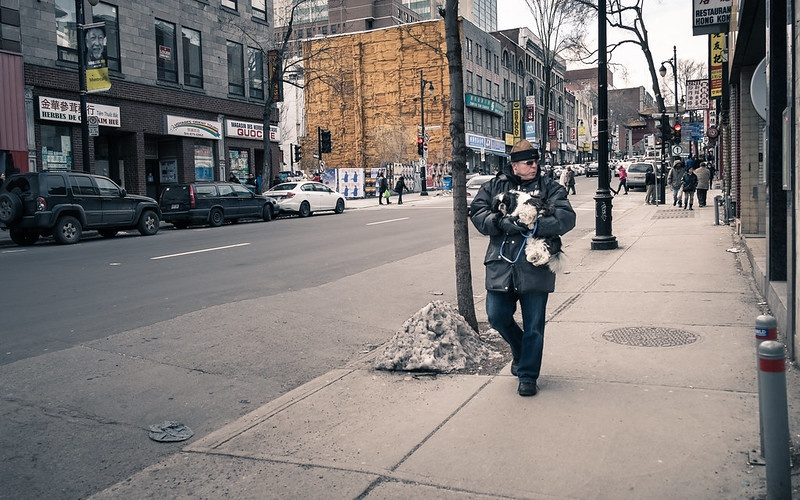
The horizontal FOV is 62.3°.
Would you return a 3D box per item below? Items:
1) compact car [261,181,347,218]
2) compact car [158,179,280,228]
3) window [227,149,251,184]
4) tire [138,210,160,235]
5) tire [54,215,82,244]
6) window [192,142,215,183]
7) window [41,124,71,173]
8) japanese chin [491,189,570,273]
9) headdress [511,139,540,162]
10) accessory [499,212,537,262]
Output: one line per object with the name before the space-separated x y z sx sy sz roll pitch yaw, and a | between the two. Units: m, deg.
compact car | -4.512 -2.529 32.438 1.973 1.638 4.926 3 7 30
compact car | -7.463 -1.935 27.713 2.183 1.799 5.164 1 7 30
window | -9.087 -4.873 37.475 1.949 1.918 0.236 7 9 37
tire | -8.610 -0.922 22.586 0.274 0.823 0.802 -5 -3 18
tire | -10.025 -0.592 20.051 0.383 0.831 0.878 3 12 30
window | -10.254 -4.599 34.676 1.992 2.088 0.110 7 10 34
window | -14.313 -4.192 27.045 0.633 1.825 1.966 3 6 11
japanese chin | 1.511 -0.191 7.683 0.770 0.946 0.290 -1 10 8
headdress | 1.463 -1.145 7.783 0.269 0.204 0.280 0 2 34
accessory | 1.390 -0.170 7.723 0.419 0.560 0.251 11 11 23
